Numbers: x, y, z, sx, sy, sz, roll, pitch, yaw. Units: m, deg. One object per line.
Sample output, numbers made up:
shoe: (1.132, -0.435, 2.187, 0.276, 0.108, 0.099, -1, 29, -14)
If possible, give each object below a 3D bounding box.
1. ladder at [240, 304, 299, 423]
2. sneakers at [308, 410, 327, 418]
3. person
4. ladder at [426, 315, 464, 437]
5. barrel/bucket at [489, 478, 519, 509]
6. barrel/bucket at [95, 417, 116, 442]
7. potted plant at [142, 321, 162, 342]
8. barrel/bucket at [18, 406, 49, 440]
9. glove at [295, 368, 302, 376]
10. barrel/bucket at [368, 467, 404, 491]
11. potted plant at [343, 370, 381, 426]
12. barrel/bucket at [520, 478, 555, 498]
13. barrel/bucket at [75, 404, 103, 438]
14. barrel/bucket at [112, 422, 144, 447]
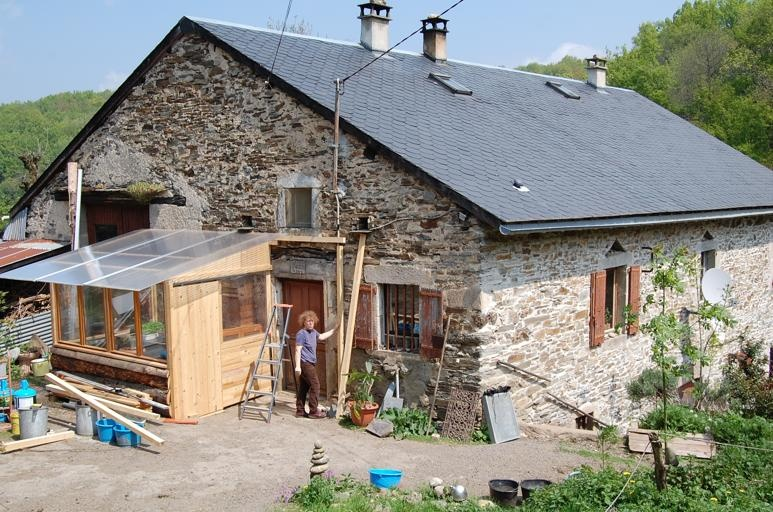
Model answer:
ladder: (-2.618, 2.233, 15.599, 1.118, 2.389, 1.781, 1, -2, -7)
sneakers: (-1.455, 3.341, 15.097, 0.327, 0.147, 0.153, -1, 1, -10)
person: (-1.578, 2.282, 14.991, 0.701, 2.227, 0.837, 0, -2, 17)
ladder: (1.099, 2.405, 14.641, 0.583, 2.457, 0.170, -1, -3, 40)
barrel/bucket: (2.019, 4.034, 12.198, 0.438, 0.309, 0.398, 3, -1, -23)
barrel/bucket: (-5.415, 3.322, 13.689, 0.394, 0.304, 0.398, 3, -3, 0)
potted plant: (-4.814, 1.534, 14.693, 0.405, 0.245, 0.451, 2, -2, -27)
barrel/bucket: (-6.792, 3.168, 13.666, 0.620, 0.601, 0.631, 7, -3, 0)
glove: (-1.796, 2.381, 14.688, 0.131, 0.150, 0.142, -3, -3, 41)
barrel/bucket: (0.000, 3.835, 12.374, 0.367, 0.249, 0.374, -1, -3, 0)
potted plant: (-0.495, 2.965, 14.980, 0.742, 0.973, 0.706, 15, -4, -36)
barrel/bucket: (2.609, 4.034, 12.273, 0.532, 0.315, 0.610, 1, -2, -9)
barrel/bucket: (-5.810, 3.179, 14.056, 0.541, 0.589, 0.549, 2, 2, 0)
barrel/bucket: (-4.959, 3.398, 13.597, 0.412, 0.297, 0.435, 2, 5, 0)
